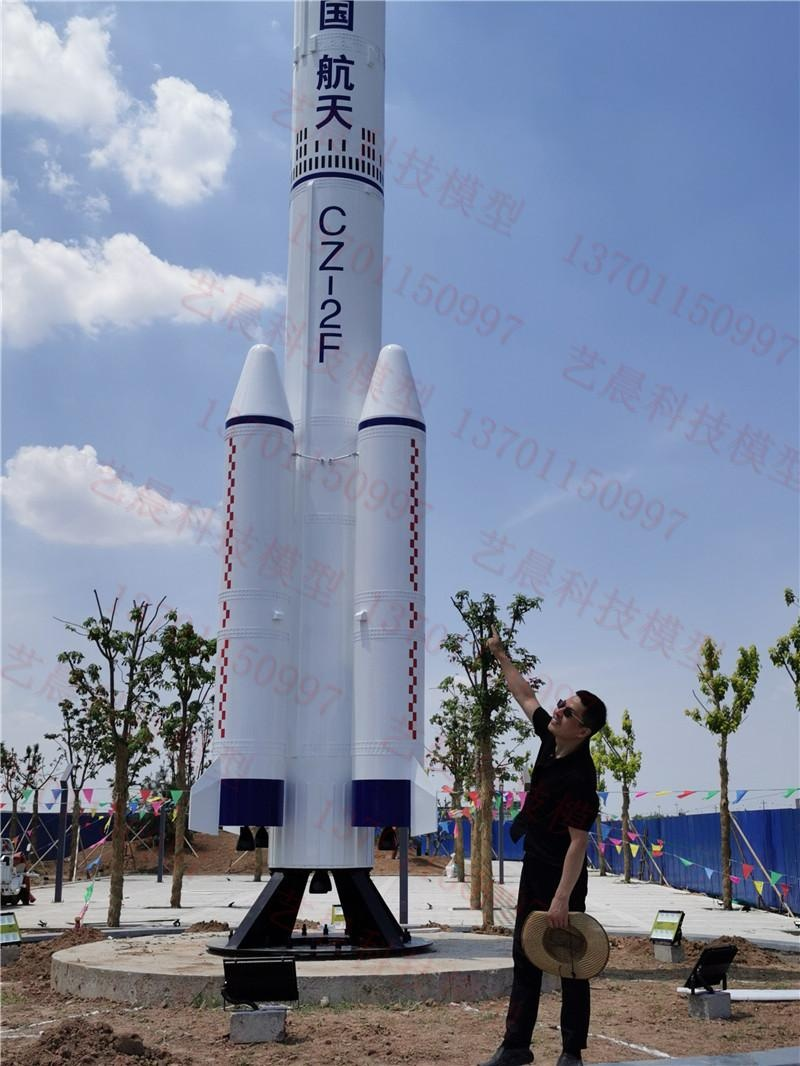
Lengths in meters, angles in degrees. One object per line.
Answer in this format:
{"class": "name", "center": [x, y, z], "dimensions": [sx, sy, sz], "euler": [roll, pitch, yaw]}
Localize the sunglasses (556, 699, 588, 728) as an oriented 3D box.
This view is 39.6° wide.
{"class": "sunglasses", "center": [1.024, 1.093, 6.713], "dimensions": [0.187, 0.144, 0.148], "euler": [0, -13, 24]}
